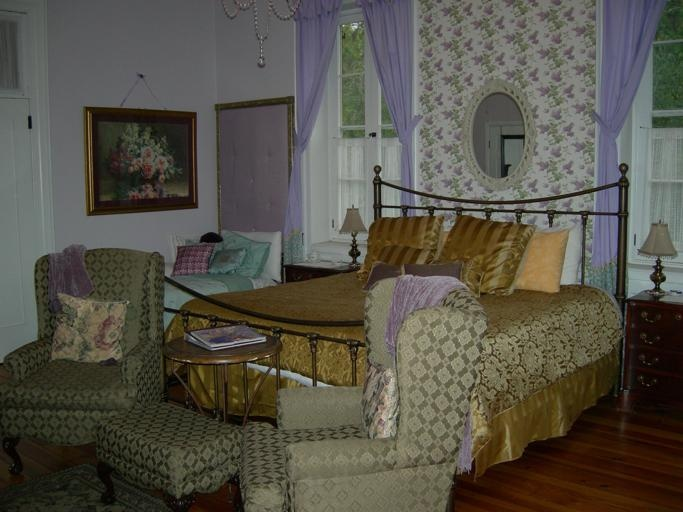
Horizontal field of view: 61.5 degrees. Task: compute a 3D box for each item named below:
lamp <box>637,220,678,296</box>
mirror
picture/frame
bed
[{"bbox_3d":[2.355,0.015,4.288,0.227,0.560,0.509,5,11,29],"label":"lamp"},{"bbox_3d":[1.388,-1.051,5.088,0.675,0.965,0.020,-2,10,-3],"label":"mirror"},{"bbox_3d":[-2.251,-1.053,6.249,0.075,1.127,1.203,3,5,42],"label":"picture/frame"},{"bbox_3d":[0.813,0.332,4.177,2.426,1.729,2.353,3,4,43],"label":"bed"}]
